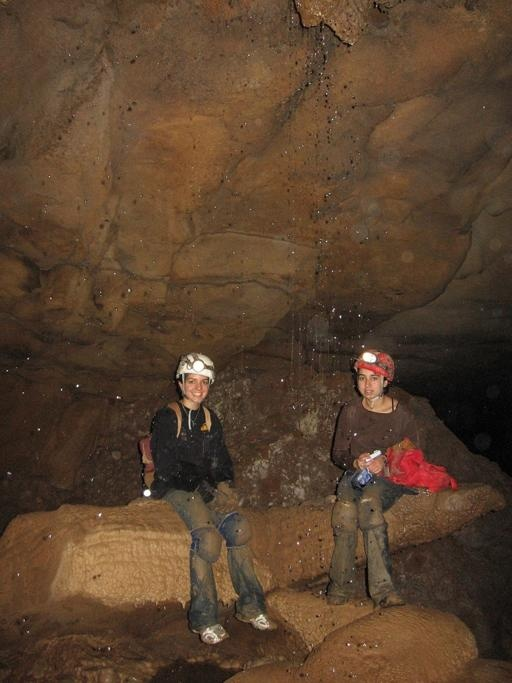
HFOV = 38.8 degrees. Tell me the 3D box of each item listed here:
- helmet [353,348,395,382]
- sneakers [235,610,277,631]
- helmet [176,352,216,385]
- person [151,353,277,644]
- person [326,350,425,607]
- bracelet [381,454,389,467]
[{"bbox_3d":[0.870,0.155,5.371,0.288,0.209,0.208,23,-16,-14],"label":"helmet"},{"bbox_3d":[0.015,1.827,4.800,0.272,0.155,0.073,9,9,9],"label":"sneakers"},{"bbox_3d":[-0.466,0.197,5.683,0.219,0.193,0.255,6,-29,-4],"label":"helmet"},{"bbox_3d":[-0.355,1.100,5.135,0.836,2.104,1.092,5,-5,-16],"label":"person"},{"bbox_3d":[0.805,0.914,5.057,0.598,1.741,0.758,2,-5,10],"label":"person"},{"bbox_3d":[0.897,0.830,5.052,0.049,0.063,0.020,-20,-26,36],"label":"bracelet"}]
